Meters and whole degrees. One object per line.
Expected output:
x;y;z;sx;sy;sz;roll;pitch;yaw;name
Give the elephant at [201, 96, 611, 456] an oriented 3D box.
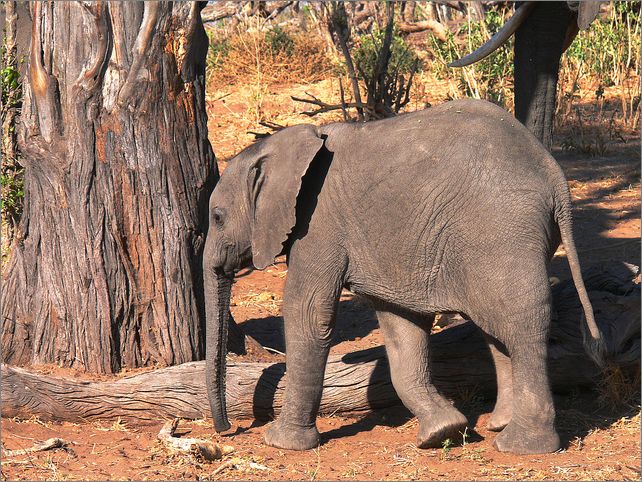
0.554;0.342;7.707;3.698;2.449;1.759;1;-4;32;elephant
